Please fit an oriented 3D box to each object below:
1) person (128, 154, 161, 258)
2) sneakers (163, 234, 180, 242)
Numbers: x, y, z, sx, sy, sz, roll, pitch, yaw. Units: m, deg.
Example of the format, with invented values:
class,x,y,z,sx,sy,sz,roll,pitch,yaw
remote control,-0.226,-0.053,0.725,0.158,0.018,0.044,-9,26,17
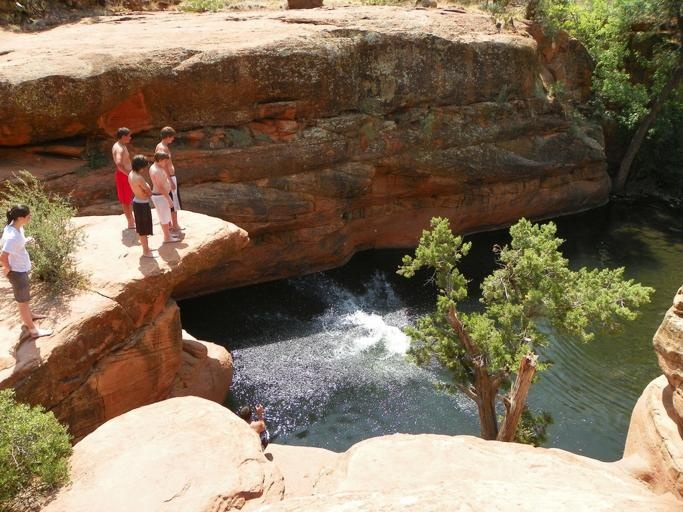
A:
class,x,y,z,sx,sy,sz,roll,pitch,yaw
person,-4.207,-1.067,12.164,0.486,2.341,0.972,-12,28,-19
sneakers,-3.807,-0.423,12.953,0.376,0.228,0.127,-14,40,-21
